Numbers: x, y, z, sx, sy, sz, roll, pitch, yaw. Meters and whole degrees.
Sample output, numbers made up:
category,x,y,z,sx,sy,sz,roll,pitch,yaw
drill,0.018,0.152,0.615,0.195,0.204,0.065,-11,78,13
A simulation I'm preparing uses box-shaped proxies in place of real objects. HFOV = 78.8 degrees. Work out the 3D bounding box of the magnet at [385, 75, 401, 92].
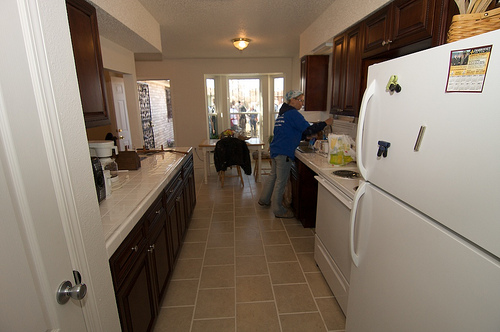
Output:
category,x,y,z,sx,sy,sz,roll,pitch,yaw
magnet,0.774,-0.442,1.639,0.026,0.079,0.079,9,-3,-27

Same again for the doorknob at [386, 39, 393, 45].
category,x,y,z,sx,sy,sz,roll,pitch,yaw
doorknob,1.147,-1.009,2.488,0.036,0.027,0.037,16,-1,41

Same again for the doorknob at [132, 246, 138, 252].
category,x,y,z,sx,sy,sz,roll,pitch,yaw
doorknob,-0.750,0.531,1.966,0.051,0.017,0.049,1,5,8

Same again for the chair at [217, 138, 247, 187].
category,x,y,z,sx,sy,sz,roll,pitch,yaw
chair,-0.349,-0.124,5.670,0.516,0.907,0.975,-4,12,-5

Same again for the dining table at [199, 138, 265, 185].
category,x,y,z,sx,sy,sz,roll,pitch,yaw
dining table,-0.351,-0.242,6.281,1.213,0.763,0.911,-1,21,0

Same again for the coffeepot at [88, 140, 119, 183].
category,x,y,z,sx,sy,sz,roll,pitch,yaw
coffeepot,-1.253,-0.041,2.557,0.274,0.308,0.174,-3,12,-12

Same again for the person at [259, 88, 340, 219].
category,x,y,z,sx,sy,sz,roll,pitch,yaw
person,0.582,-0.154,4.110,0.976,1.660,0.895,-3,13,1

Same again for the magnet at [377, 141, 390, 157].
category,x,y,z,sx,sy,sz,roll,pitch,yaw
magnet,0.757,-0.096,1.712,0.030,0.081,0.080,-5,13,-18
